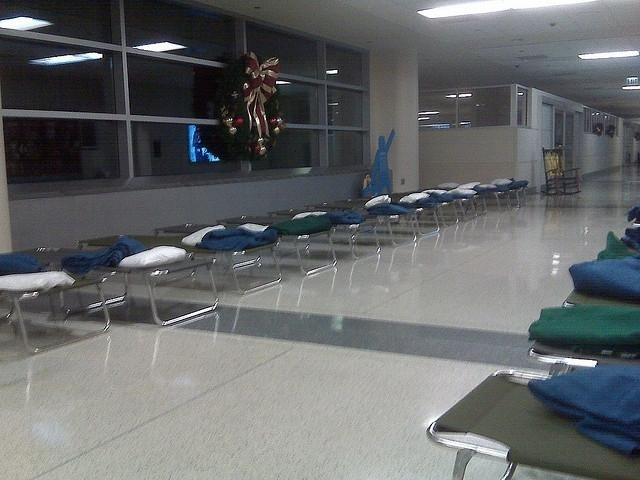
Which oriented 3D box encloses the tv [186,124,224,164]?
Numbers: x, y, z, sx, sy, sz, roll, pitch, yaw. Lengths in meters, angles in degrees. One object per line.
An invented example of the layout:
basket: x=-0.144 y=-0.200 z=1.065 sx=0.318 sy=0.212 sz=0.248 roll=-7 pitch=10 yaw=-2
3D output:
tv: x=-2.202 y=-1.835 z=8.049 sx=0.097 sy=0.807 sz=0.890 roll=7 pitch=1 yaw=33
